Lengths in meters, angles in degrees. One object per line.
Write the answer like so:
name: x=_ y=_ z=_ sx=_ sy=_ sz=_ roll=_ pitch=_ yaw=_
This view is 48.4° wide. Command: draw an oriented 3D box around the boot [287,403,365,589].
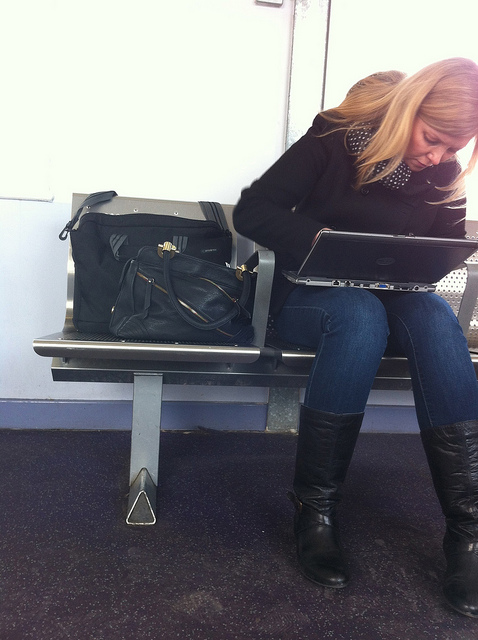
boot: x=0.153 y=0.311 z=0.967 sx=0.114 sy=0.259 sz=0.201 roll=8 pitch=20 yaw=4

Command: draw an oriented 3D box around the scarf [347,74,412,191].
scarf: x=0.328 y=-0.413 z=1.248 sx=0.128 sy=0.176 sz=0.056 roll=-3 pitch=8 yaw=-25

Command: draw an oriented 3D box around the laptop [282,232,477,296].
laptop: x=0.289 y=-0.115 z=1.121 sx=0.337 sy=0.166 sz=0.205 roll=4 pitch=20 yaw=-10

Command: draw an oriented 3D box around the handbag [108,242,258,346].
handbag: x=-0.117 y=-0.066 z=1.242 sx=0.344 sy=0.213 sz=0.187 roll=7 pitch=23 yaw=-25

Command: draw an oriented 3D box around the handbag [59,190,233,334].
handbag: x=-0.229 y=-0.143 z=1.336 sx=0.405 sy=0.363 sz=0.209 roll=3 pitch=1 yaw=-14

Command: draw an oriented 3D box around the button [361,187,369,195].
button: x=0.298 y=-0.307 z=1.261 sx=0.015 sy=0.016 sz=0.004 roll=-1 pitch=7 yaw=-2
